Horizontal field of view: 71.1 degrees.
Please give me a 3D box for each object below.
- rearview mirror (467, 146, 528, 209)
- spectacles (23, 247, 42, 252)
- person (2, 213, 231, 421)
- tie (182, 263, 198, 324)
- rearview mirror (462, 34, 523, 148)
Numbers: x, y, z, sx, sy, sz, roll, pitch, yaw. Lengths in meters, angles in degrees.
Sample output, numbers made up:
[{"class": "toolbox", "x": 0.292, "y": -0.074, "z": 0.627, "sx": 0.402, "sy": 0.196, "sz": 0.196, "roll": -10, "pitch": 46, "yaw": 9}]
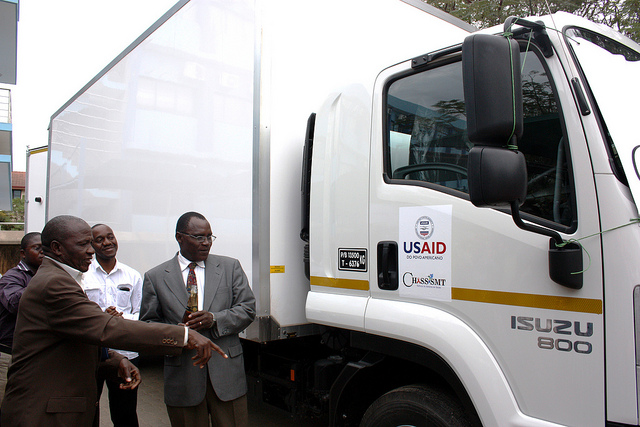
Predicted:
[{"class": "rearview mirror", "x": 1.117, "y": -0.235, "z": 2.744, "sx": 0.425, "sy": 0.408, "sz": 0.245, "roll": -1, "pitch": 3, "yaw": -23}, {"class": "spectacles", "x": -3.226, "y": 0.403, "z": 4.934, "sx": 0.230, "sy": 0.048, "sz": 0.103, "roll": -1, "pitch": -5, "yaw": 18}, {"class": "person", "x": -1.661, "y": 0.742, "z": 3.141, "sx": 1.008, "sy": 1.442, "sz": 0.339, "roll": 2, "pitch": -4, "yaw": -18}, {"class": "tie", "x": -1.100, "y": 0.674, "z": 3.766, "sx": 0.102, "sy": 0.397, "sz": 0.099, "roll": 3, "pitch": -13, "yaw": -10}, {"class": "rearview mirror", "x": 0.993, "y": -0.722, "z": 2.632, "sx": 0.279, "sy": 0.652, "sz": 0.136, "roll": 1, "pitch": -4, "yaw": -13}]
